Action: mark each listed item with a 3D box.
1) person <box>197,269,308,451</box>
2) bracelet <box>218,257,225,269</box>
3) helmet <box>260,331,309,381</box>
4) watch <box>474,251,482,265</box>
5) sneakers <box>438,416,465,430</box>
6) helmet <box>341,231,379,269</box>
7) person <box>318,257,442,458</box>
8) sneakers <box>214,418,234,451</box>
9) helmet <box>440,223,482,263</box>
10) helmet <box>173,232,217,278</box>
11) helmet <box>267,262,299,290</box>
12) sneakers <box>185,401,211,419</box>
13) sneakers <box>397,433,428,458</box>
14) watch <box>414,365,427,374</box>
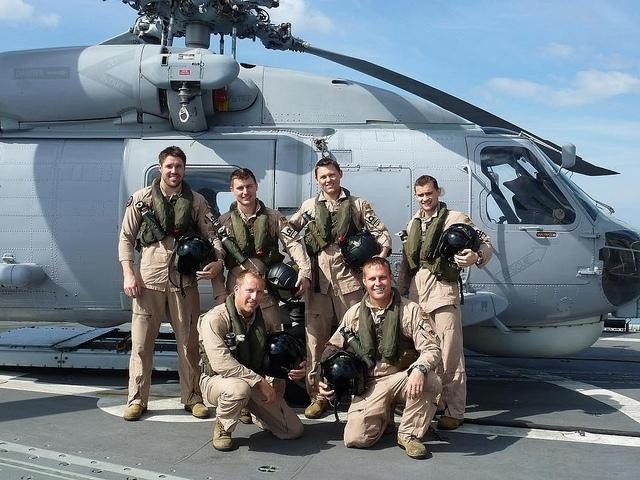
[{"bbox_3d":[-0.576,0.959,4.934,0.857,1.420,0.506,1,1,-11],"label":"person"},{"bbox_3d":[-0.907,0.204,5.449,0.036,0.079,0.078,-6,-12,33],"label":"bracelet"},{"bbox_3d":[-0.277,0.962,4.927,0.324,0.306,0.383,-10,36,8],"label":"helmet"},{"bbox_3d":[1.430,0.167,5.362,0.091,0.100,0.055,0,-5,-11],"label":"watch"},{"bbox_3d":[1.159,1.622,5.284,0.232,0.083,0.094,9,-8,-30],"label":"sneakers"},{"bbox_3d":[0.361,0.059,5.492,0.375,0.273,0.357,-28,4,8],"label":"helmet"},{"bbox_3d":[0.500,0.914,4.885,0.966,1.545,0.475,1,1,9],"label":"person"},{"bbox_3d":[-0.792,1.562,4.836,0.163,0.218,0.239,1,1,-9],"label":"sneakers"},{"bbox_3d":[1.237,0.018,5.358,0.283,0.331,0.321,-7,-35,35],"label":"helmet"},{"bbox_3d":[-1.083,0.149,5.368,0.338,0.321,0.371,9,-4,-3],"label":"helmet"},{"bbox_3d":[-0.313,0.333,5.405,0.271,0.182,0.250,10,-3,21],"label":"helmet"},{"bbox_3d":[-1.137,1.569,5.508,0.108,0.098,0.265,8,-8,-43],"label":"sneakers"},{"bbox_3d":[0.757,1.623,4.748,0.246,0.143,0.262,1,1,-7],"label":"sneakers"},{"bbox_3d":[0.796,1.006,4.719,0.088,0.058,0.084,24,-1,43],"label":"watch"}]
